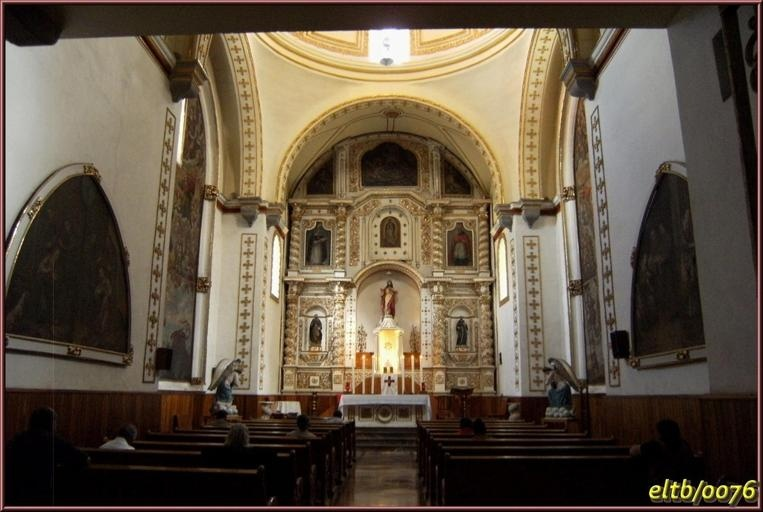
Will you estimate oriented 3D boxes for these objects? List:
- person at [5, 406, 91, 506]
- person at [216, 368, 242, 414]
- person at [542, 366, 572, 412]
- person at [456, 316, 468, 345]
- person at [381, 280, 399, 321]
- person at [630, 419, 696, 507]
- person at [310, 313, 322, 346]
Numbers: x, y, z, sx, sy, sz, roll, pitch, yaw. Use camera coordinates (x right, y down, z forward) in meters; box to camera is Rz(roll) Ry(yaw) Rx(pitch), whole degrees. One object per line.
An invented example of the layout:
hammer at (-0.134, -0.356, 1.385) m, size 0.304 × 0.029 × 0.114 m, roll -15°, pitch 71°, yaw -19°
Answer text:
person at (-3.747, 2.248, 6.452) m, size 0.857 × 0.955 × 0.492 m, roll 4°, pitch -33°, yaw -20°
person at (-3.871, 3.373, 14.470) m, size 0.511 × 1.133 × 1.839 m, roll 4°, pitch -17°, yaw -9°
person at (4.290, 3.238, 14.100) m, size 0.552 × 1.047 × 0.817 m, roll -5°, pitch -17°, yaw 18°
person at (2.942, 2.820, 21.366) m, size 0.466 × 1.050 × 0.167 m, roll -1°, pitch -16°, yaw 8°
person at (0.277, 1.634, 21.926) m, size 0.572 × 1.533 × 0.815 m, roll 1°, pitch -16°, yaw 0°
person at (3.210, 2.382, 6.580) m, size 0.758 × 0.888 × 0.473 m, roll 2°, pitch -12°, yaw 7°
person at (-2.407, 2.793, 21.324) m, size 0.502 × 1.096 × 0.173 m, roll 4°, pitch -16°, yaw -11°
